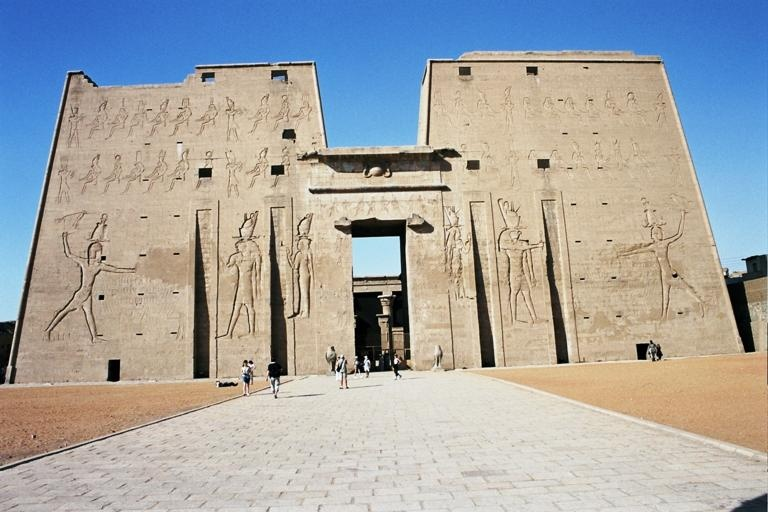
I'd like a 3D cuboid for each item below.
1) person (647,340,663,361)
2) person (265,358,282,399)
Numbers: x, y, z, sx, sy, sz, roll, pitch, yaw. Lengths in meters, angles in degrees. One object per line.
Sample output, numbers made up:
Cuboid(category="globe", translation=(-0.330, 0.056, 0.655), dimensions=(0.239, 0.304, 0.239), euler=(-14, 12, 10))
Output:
Cuboid(category="person", translation=(14.879, 5.131, 32.300), dimensions=(0.721, 1.223, 1.826), euler=(-8, -15, 22))
Cuboid(category="person", translation=(-4.320, 4.842, 23.089), dimensions=(0.396, 1.407, 1.630), euler=(1, -14, -12))
